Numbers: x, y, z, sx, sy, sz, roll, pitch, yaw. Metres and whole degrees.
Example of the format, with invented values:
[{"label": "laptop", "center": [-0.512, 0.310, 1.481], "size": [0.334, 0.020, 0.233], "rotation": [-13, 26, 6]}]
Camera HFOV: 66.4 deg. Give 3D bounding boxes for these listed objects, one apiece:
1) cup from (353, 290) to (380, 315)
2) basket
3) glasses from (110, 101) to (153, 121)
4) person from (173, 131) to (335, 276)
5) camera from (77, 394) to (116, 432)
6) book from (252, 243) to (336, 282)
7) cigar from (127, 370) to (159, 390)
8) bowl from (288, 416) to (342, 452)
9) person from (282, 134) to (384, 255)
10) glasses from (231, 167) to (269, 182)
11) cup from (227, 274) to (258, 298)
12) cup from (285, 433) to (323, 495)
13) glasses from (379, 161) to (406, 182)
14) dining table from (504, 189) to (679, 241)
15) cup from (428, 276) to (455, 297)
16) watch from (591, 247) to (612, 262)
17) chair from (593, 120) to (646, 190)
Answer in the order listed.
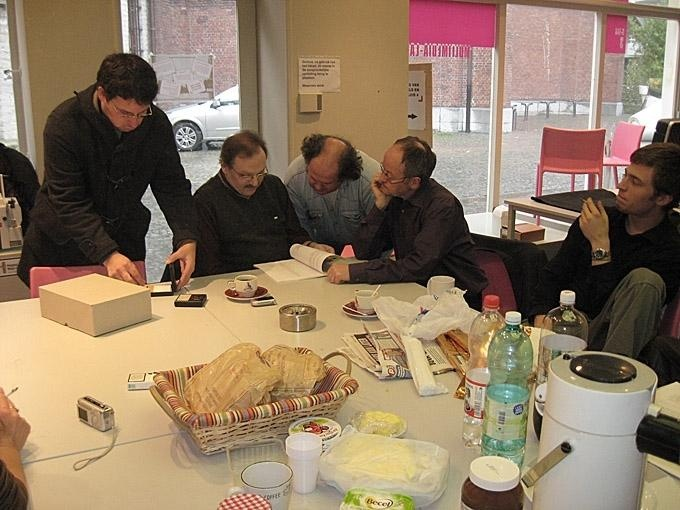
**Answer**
[{"label": "cup", "center": [0.107, 0.198, 2.187], "size": [0.085, 0.071, 0.101], "rotation": [-3, 12, -10]}, {"label": "basket", "center": [-0.216, 0.400, 1.455], "size": [0.569, 0.177, 0.324], "rotation": [-7, 15, -20]}, {"label": "glasses", "center": [-0.932, -0.644, 2.268], "size": [0.099, 0.056, 0.124], "rotation": [-17, 29, -34]}, {"label": "person", "center": [-0.549, -0.210, 3.006], "size": [0.750, 0.879, 0.657], "rotation": [-6, 19, -28]}, {"label": "camera", "center": [-0.695, 0.448, 1.474], "size": [0.125, 0.070, 0.044], "rotation": [10, 14, 33]}, {"label": "book", "center": [-0.236, 0.005, 2.817], "size": [0.436, 0.112, 0.422], "rotation": [-9, 19, -17]}, {"label": "cigar", "center": [-0.616, 0.393, 1.619], "size": [0.126, 0.030, 0.083], "rotation": [-2, 15, -14]}, {"label": "bowl", "center": [-0.073, 0.455, 1.351], "size": [0.093, 0.032, 0.089], "rotation": [-20, 17, 6]}, {"label": "person", "center": [-0.034, -0.191, 3.643], "size": [0.600, 1.448, 0.461], "rotation": [5, 43, 9]}, {"label": "glasses", "center": [-0.495, -0.440, 2.855], "size": [0.159, 0.069, 0.069], "rotation": [-7, 15, -20]}, {"label": "cup", "center": [-0.446, 0.140, 2.379], "size": [0.139, 0.080, 0.103], "rotation": [6, 16, 20]}, {"label": "cup", "center": [-0.083, 0.495, 1.232], "size": [0.081, 0.132, 0.057], "rotation": [-4, 15, -5]}, {"label": "glasses", "center": [0.275, -0.444, 2.757], "size": [0.113, 0.041, 0.105], "rotation": [-3, 34, -24]}, {"label": "dining table", "center": [1.627, -0.267, 3.453], "size": [0.611, 0.360, 0.641], "rotation": [16, 25, 38]}, {"label": "cup", "center": [0.425, 0.128, 2.207], "size": [0.108, 0.072, 0.077], "rotation": [-3, 17, 0]}, {"label": "watch", "center": [1.318, -0.002, 2.618], "size": [0.077, 0.053, 0.070], "rotation": [-2, 1, 16]}, {"label": "chair", "center": [3.403, -1.278, 6.673], "size": [0.636, 0.768, 0.609], "rotation": [26, 30, 25]}]
